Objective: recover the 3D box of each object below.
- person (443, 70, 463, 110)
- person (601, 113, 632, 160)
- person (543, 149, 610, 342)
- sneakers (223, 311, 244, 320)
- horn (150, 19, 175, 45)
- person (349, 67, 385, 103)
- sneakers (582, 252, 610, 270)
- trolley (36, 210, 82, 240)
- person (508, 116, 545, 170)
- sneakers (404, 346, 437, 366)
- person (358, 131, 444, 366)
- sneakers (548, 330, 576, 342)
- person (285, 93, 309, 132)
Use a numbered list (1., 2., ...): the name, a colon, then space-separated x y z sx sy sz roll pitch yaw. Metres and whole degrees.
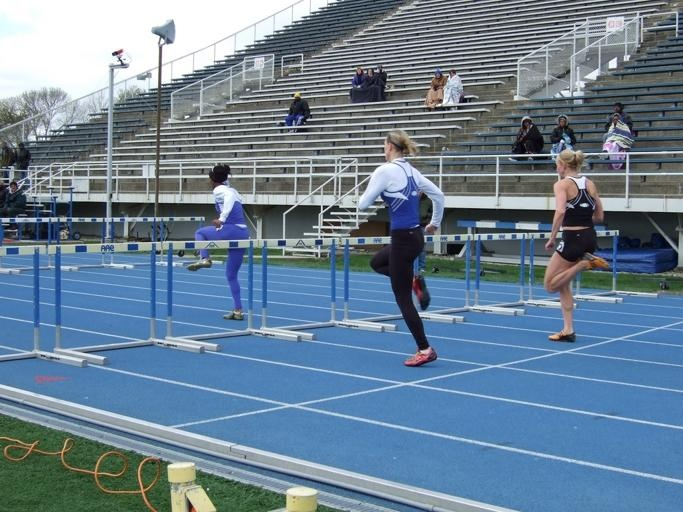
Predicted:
1. person: 3.061 -4.606 21.744 0.569 0.975 0.714 1 4 8
2. person: 5.774 -2.491 16.459 0.595 1.027 1.231 2 5 20
3. person: 2.487 -0.091 8.375 0.612 2.075 0.763 1 4 15
4. sneakers: -1.318 0.742 9.647 0.244 0.107 0.103 4 2 24
5. horn: -4.115 -5.218 18.292 0.461 0.547 0.703 -1 5 -8
6. person: 0.867 -5.221 24.189 0.787 1.057 1.155 -3 5 -36
7. sneakers: 2.657 0.020 8.419 0.307 0.130 0.195 21 15 41
8. trolley: -7.843 -0.810 21.854 0.843 0.514 1.715 -10 15 -44
9. person: 4.109 -2.633 17.597 0.729 0.913 0.772 0 5 24
10. sneakers: 0.730 0.944 7.270 0.364 0.156 0.134 -16 -5 37
11. person: 0.547 -0.045 7.154 0.595 2.167 1.062 1 4 20
12. sneakers: 2.390 0.871 8.569 0.292 0.116 0.106 4 2 18
13. person: -1.347 -4.453 24.290 0.745 1.223 0.742 0 4 -5
